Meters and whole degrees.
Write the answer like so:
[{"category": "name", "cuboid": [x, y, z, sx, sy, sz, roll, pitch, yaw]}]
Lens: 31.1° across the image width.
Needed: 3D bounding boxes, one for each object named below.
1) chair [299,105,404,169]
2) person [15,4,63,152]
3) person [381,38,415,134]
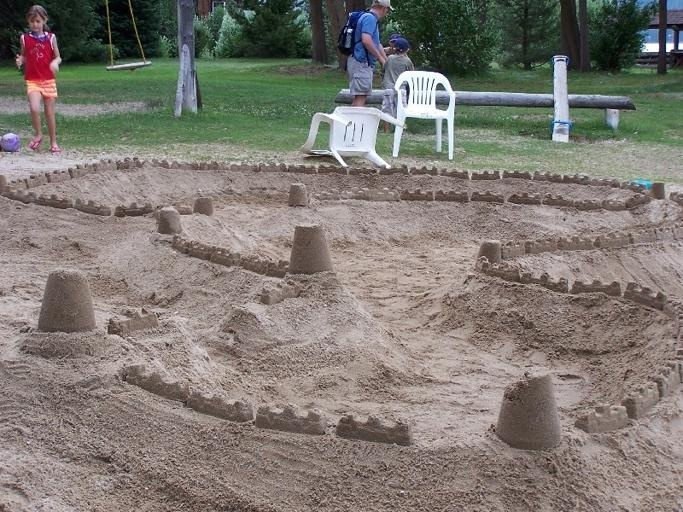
[{"category": "chair", "cuboid": [0.129, -1.689, 17.972, 1.136, 1.055, 1.200, -12, 22, -37]}, {"category": "person", "cuboid": [-4.267, -2.689, 17.679, 0.596, 2.597, 0.557, -9, 19, -27]}, {"category": "person", "cuboid": [0.828, -2.894, 20.355, 0.484, 1.507, 0.455, 6, 24, -10]}]
